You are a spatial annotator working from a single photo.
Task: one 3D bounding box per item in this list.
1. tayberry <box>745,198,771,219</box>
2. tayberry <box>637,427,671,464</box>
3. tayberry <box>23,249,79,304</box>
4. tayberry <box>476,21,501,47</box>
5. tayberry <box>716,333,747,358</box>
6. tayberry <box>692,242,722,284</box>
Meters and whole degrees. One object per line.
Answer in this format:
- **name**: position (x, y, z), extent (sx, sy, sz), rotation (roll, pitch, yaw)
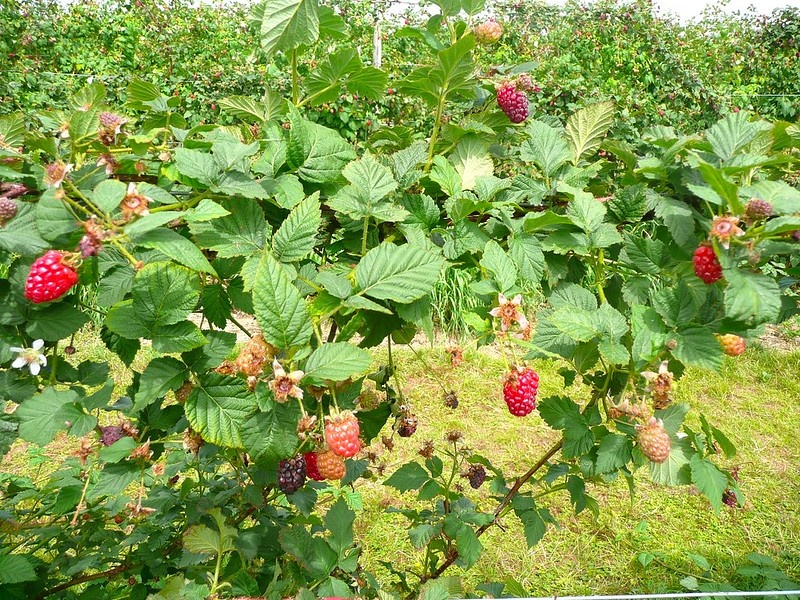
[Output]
- **tayberry**: position (0.904, -0.232, 1.510), extent (0.050, 0.048, 0.056), rotation (-1, 8, -4)
- **tayberry**: position (0.682, 0.390, 1.640), extent (0.084, 0.095, 0.090), rotation (-13, 3, 43)
- **tayberry**: position (-0.812, -0.049, 1.375), extent (0.075, 0.104, 0.077), rotation (28, 29, 18)
- **tayberry**: position (0.269, -0.799, 1.784), extent (0.073, 0.062, 0.063), rotation (-13, 1, -18)
- **tayberry**: position (0.935, 0.125, 1.686), extent (0.077, 0.048, 0.060), rotation (18, 64, 32)
- **tayberry**: position (0.824, -0.094, 1.587), extent (0.064, 0.110, 0.063), rotation (-14, 2, 30)
